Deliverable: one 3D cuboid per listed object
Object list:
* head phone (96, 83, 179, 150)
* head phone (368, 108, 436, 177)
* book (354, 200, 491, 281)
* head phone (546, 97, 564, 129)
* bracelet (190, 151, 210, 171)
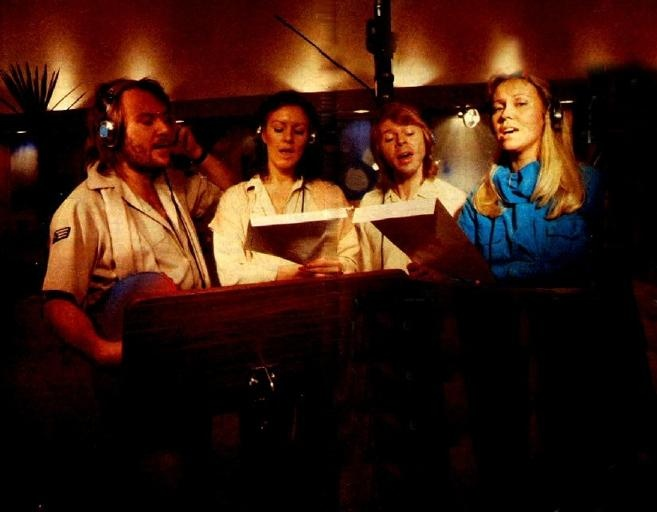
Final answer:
[{"bbox_3d":[-0.721,-0.525,2.194,0.245,0.226,0.242,2,1,6],"label":"head phone"},{"bbox_3d":[0.300,-0.455,2.332,0.225,0.300,0.125,-1,12,19],"label":"head phone"},{"bbox_3d":[0.331,-0.070,2.049,0.297,0.105,0.447,1,-31,44],"label":"book"},{"bbox_3d":[0.894,-0.568,2.231,0.043,0.103,0.117,-3,4,41],"label":"head phone"},{"bbox_3d":[-0.505,-0.370,2.226,0.022,0.073,0.074,11,34,0],"label":"bracelet"}]
